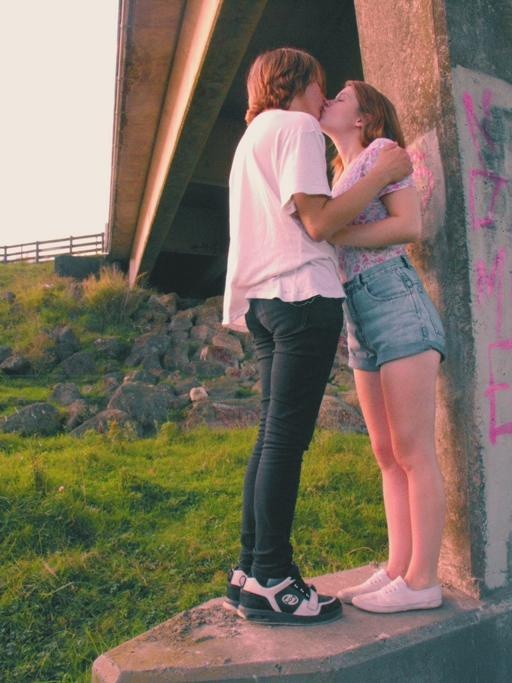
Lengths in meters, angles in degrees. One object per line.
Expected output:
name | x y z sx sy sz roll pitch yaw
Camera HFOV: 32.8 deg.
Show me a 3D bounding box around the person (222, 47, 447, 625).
person | 0.113 -0.059 3.173 0.519 2.020 0.605 -5 8 -43
